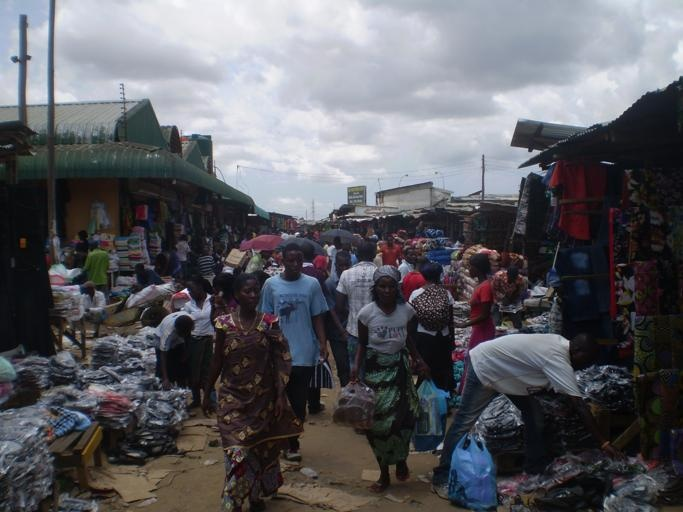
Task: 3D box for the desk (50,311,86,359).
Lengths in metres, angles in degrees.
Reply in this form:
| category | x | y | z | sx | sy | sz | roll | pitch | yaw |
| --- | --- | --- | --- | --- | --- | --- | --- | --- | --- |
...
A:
| category | x | y | z | sx | sy | sz | roll | pitch | yaw |
| --- | --- | --- | --- | --- | --- | --- | --- | --- | --- |
| desk | -4.413 | 1.271 | 9.132 | 0.460 | 0.571 | 0.467 | 1 | -4 | -12 |

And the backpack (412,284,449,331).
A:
| category | x | y | z | sx | sy | sz | roll | pitch | yaw |
| --- | --- | --- | --- | --- | --- | --- | --- | --- | --- |
| backpack | 1.027 | 0.591 | 6.414 | 0.432 | 0.478 | 0.192 | 2 | -2 | -11 |

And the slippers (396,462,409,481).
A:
| category | x | y | z | sx | sy | sz | roll | pitch | yaw |
| --- | --- | --- | --- | --- | --- | --- | --- | --- | --- |
| slippers | 0.570 | 2.030 | 5.315 | 0.136 | 0.178 | 0.187 | -1 | -13 | 0 |

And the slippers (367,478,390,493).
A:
| category | x | y | z | sx | sy | sz | roll | pitch | yaw |
| --- | --- | --- | --- | --- | --- | --- | --- | --- | --- |
| slippers | 0.332 | 2.080 | 5.130 | 0.087 | 0.083 | 0.215 | -6 | -15 | 22 |

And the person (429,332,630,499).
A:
| category | x | y | z | sx | sy | sz | roll | pitch | yaw |
| --- | --- | --- | --- | --- | --- | --- | --- | --- | --- |
| person | 1.527 | 1.390 | 4.906 | 1.556 | 1.319 | 1.022 | -2 | -2 | 7 |

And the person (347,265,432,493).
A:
| category | x | y | z | sx | sy | sz | roll | pitch | yaw |
| --- | --- | --- | --- | --- | --- | --- | --- | --- | --- |
| person | 0.429 | 1.111 | 5.316 | 0.647 | 2.043 | 0.489 | 0 | 3 | -3 |

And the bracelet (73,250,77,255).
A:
| category | x | y | z | sx | sy | sz | roll | pitch | yaw |
| --- | --- | --- | --- | --- | --- | --- | --- | --- | --- |
| bracelet | -5.955 | -0.066 | 12.559 | 0.065 | 0.062 | 0.039 | 6 | 8 | -6 |

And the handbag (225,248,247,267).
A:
| category | x | y | z | sx | sy | sz | roll | pitch | yaw |
| --- | --- | --- | --- | --- | --- | --- | --- | --- | --- |
| handbag | -2.876 | 0.107 | 15.384 | 0.584 | 0.148 | 0.610 | -9 | 37 | 26 |
